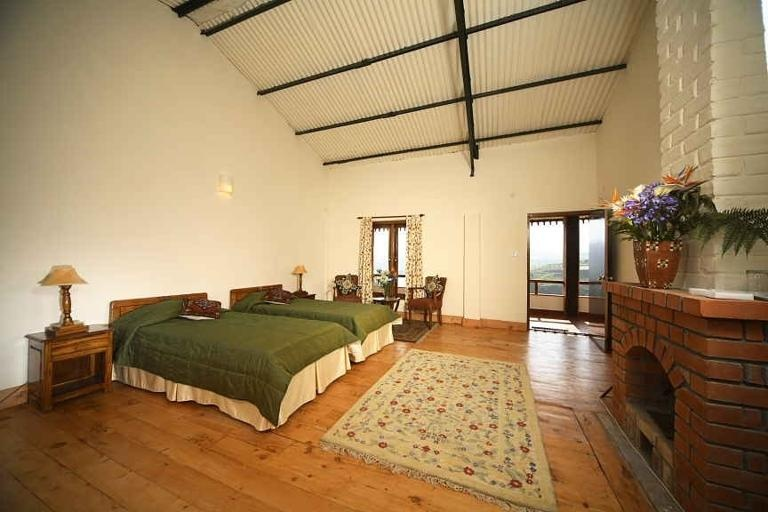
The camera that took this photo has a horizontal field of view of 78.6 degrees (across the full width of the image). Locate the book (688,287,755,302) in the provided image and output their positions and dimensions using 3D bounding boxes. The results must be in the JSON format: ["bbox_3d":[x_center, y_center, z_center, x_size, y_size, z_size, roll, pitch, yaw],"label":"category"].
[{"bbox_3d":[3.295,0.366,4.572,0.538,0.076,0.315,2,7,26],"label":"book"}]

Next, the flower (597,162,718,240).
[{"bbox_3d":[2.998,-0.487,5.073,0.978,0.759,0.918,-10,-2,15],"label":"flower"}]

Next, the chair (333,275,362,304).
[{"bbox_3d":[-0.793,0.677,10.106,0.540,0.717,0.593,1,-6,-1],"label":"chair"}]

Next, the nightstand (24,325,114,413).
[{"bbox_3d":[-4.096,1.396,6.113,0.965,0.912,0.492,-6,8,-37],"label":"nightstand"}]

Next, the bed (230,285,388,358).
[{"bbox_3d":[-1.083,0.954,7.690,1.893,0.684,1.218,1,4,22],"label":"bed"}]

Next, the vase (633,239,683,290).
[{"bbox_3d":[2.936,0.095,5.105,0.422,0.490,0.407,1,0,2],"label":"vase"}]

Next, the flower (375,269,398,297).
[{"bbox_3d":[0.081,0.557,9.939,0.594,0.632,0.528,-1,-8,-8],"label":"flower"}]

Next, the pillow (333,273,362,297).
[{"bbox_3d":[-0.789,0.620,10.212,0.474,0.612,0.511,0,-6,-2],"label":"pillow"}]

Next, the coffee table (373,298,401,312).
[{"bbox_3d":[0.065,0.942,9.597,0.387,0.380,0.385,-1,-3,8],"label":"coffee table"}]

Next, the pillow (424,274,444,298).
[{"bbox_3d":[0.962,0.609,9.448,0.391,0.402,0.098,-12,-23,38],"label":"pillow"}]

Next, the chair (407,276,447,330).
[{"bbox_3d":[0.782,0.886,9.524,0.881,0.931,0.914,2,8,31],"label":"chair"}]
